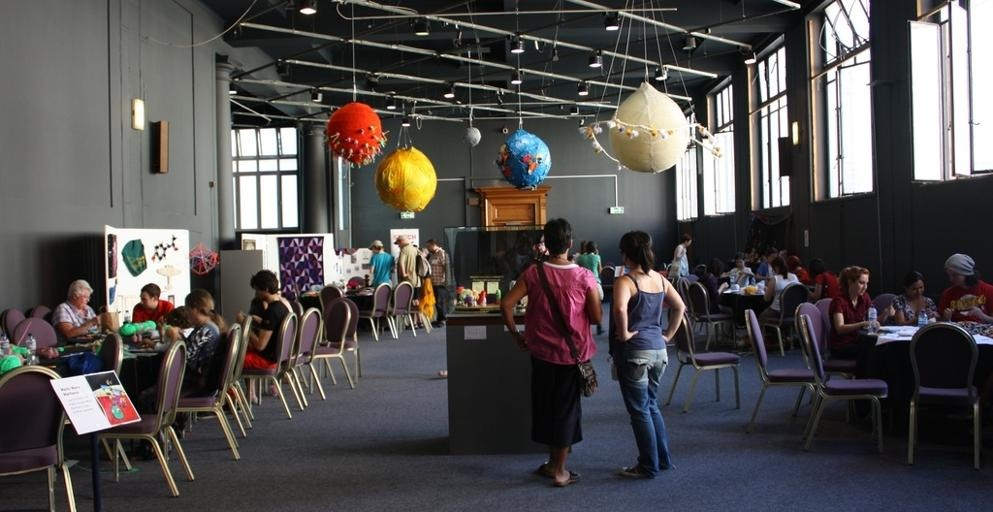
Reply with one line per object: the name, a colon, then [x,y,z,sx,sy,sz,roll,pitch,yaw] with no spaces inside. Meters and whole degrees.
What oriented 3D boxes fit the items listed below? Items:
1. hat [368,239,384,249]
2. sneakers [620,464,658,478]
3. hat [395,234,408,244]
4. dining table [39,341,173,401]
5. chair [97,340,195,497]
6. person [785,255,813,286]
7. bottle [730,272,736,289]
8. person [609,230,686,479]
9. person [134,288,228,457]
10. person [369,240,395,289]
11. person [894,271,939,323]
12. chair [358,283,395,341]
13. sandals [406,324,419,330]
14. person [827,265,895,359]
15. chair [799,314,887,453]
hat: [-3.050,-0.296,19.275,0.359,0.184,0.264,5,2,28]
sneakers: [1.768,2.702,9.384,0.440,0.168,0.173,2,-6,13]
hat: [-2.269,-0.391,18.031,0.385,0.216,0.284,6,4,32]
dining table: [-5.032,1.469,9.858,1.112,0.333,1.027,0,3,2]
chair: [-4.377,1.981,9.542,0.980,1.899,1.109,-2,3,-27]
person: [5.657,0.296,14.139,0.305,0.695,0.249,-22,-6,-25]
bottle: [4.689,0.510,14.979,0.104,0.285,0.317,0,-2,11]
person: [1.837,1.234,9.365,0.899,3.061,0.309,-1,3,-16]
person: [-4.214,1.529,10.402,1.191,2.141,0.775,7,18,3]
person: [-2.484,0.197,16.613,0.544,0.975,2.058,-1,3,-9]
person: [5.935,0.600,10.687,0.493,0.724,0.491,1,3,31]
chair: [-2.473,1.139,15.777,0.649,1.159,1.144,-1,3,-8]
sandals: [-1.875,1.615,16.772,0.156,0.119,0.391,-32,-7,10]
person: [5.146,1.010,10.755,0.834,1.602,0.815,3,6,33]
chair: [4.610,1.647,10.102,1.100,1.739,1.008,0,3,19]
